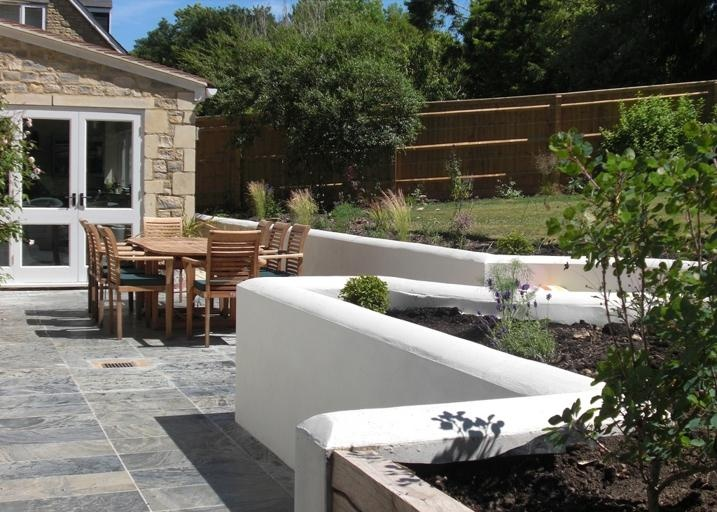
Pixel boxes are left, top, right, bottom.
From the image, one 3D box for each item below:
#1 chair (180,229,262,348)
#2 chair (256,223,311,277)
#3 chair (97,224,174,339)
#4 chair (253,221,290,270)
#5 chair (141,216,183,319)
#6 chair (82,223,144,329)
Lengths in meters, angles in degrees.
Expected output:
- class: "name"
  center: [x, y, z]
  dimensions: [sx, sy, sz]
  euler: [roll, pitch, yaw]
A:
- class: "chair"
  center: [-1.282, 0.316, 7.224]
  dimensions: [0.769, 1.081, 0.834]
  euler: [2, 0, 12]
- class: "chair"
  center: [-0.955, -0.067, 8.326]
  dimensions: [0.595, 0.855, 0.544]
  euler: [1, 3, -33]
- class: "chair"
  center: [-2.485, 0.249, 7.809]
  dimensions: [0.631, 1.091, 1.628]
  euler: [-1, 4, -27]
- class: "chair"
  center: [-1.064, -0.140, 8.604]
  dimensions: [0.518, 0.725, 0.409]
  euler: [1, 2, -40]
- class: "chair"
  center: [-2.711, 0.118, 9.874]
  dimensions: [0.599, 1.091, 0.683]
  euler: [-1, 36, -10]
- class: "chair"
  center: [-2.852, 0.171, 8.134]
  dimensions: [0.640, 0.926, 0.640]
  euler: [0, 16, -20]
